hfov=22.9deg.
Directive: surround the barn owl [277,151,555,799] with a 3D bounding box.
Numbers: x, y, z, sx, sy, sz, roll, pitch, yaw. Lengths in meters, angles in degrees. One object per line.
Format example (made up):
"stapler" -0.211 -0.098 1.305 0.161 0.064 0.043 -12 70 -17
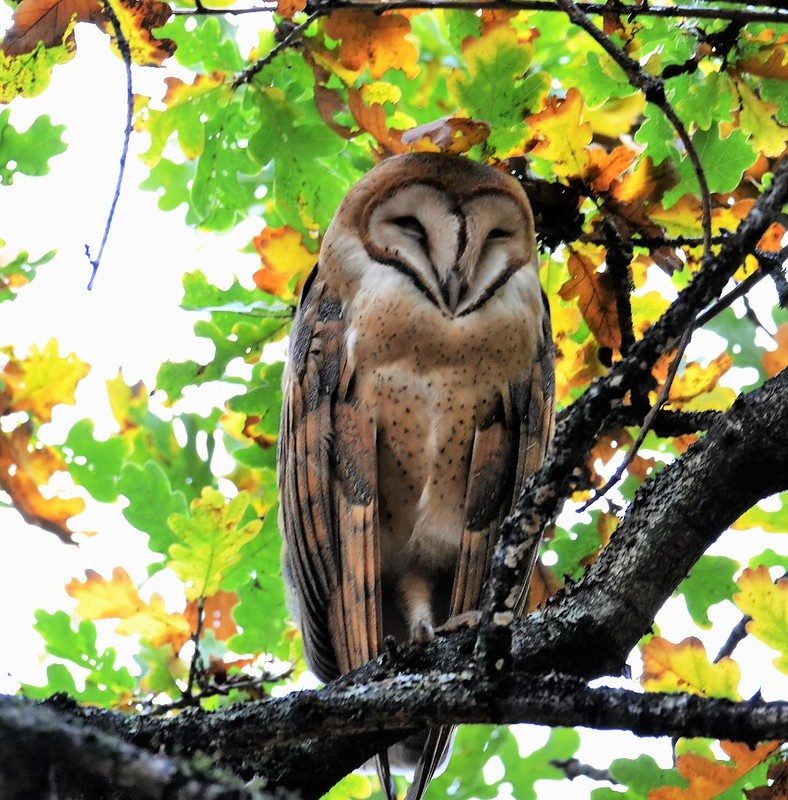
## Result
"barn owl" 0.036 0.075 4.347 0.630 0.832 1.028 10 -57 -1
